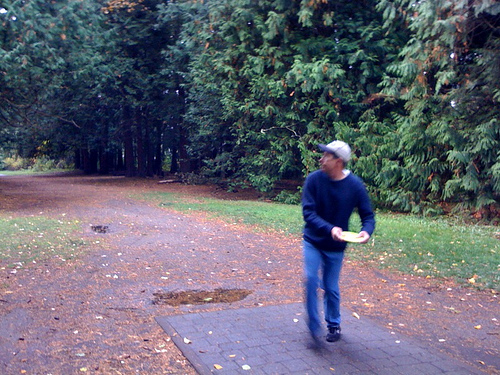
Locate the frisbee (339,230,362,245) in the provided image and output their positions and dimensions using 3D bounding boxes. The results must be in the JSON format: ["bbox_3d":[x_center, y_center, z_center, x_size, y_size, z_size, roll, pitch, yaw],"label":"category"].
[{"bbox_3d":[1.458,0.718,6.586,0.311,0.173,0.458,3,9,14],"label":"frisbee"}]

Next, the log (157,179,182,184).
[{"bbox_3d":[-5.512,-0.466,31.598,1.504,0.210,0.268,-4,7,0],"label":"log"}]

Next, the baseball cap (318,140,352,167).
[{"bbox_3d":[1.309,-0.562,6.818,0.470,0.261,0.331,22,10,-7],"label":"baseball cap"}]

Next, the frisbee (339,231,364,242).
[{"bbox_3d":[1.445,0.708,6.486,0.300,0.115,0.270,-5,10,-35],"label":"frisbee"}]
